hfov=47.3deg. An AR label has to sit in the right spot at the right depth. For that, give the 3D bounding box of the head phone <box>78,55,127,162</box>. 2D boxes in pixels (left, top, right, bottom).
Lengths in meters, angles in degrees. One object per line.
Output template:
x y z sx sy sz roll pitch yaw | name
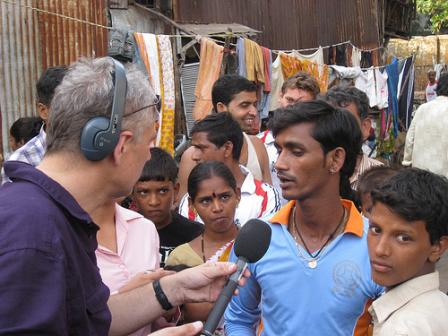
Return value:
-0.654 -0.332 2.882 0.212 0.493 0.282 1 19 -4 | head phone

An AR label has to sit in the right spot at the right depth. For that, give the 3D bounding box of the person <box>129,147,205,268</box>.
-0.541 0.323 4.732 0.464 1.277 0.635 -2 14 -20 | person

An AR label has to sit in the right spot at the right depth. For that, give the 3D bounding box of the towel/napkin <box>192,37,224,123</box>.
-0.219 -1.518 8.444 0.431 1.553 0.516 -9 23 -31 | towel/napkin

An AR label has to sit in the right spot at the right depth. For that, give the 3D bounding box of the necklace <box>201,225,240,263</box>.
-0.081 0.660 4.298 0.251 0.301 0.202 2 17 -6 | necklace

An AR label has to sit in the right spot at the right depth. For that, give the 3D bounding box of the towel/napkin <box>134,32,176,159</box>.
-0.919 -1.388 7.847 0.628 2.410 0.745 17 23 32 | towel/napkin
